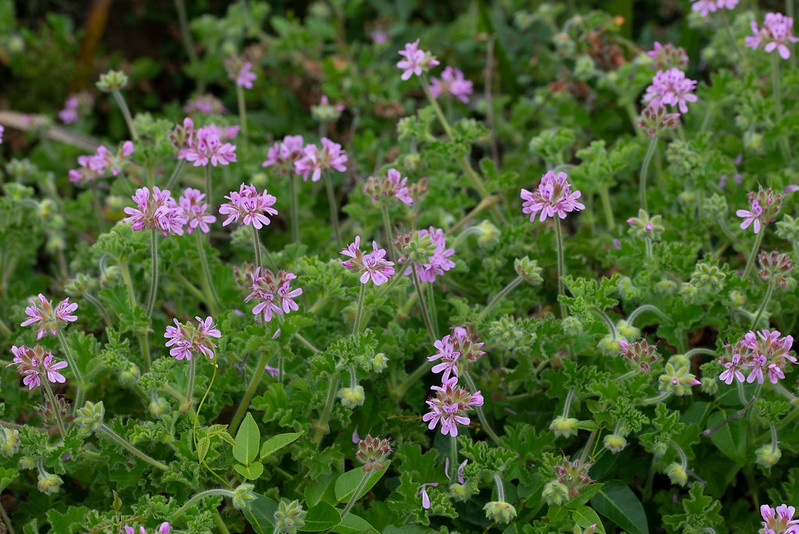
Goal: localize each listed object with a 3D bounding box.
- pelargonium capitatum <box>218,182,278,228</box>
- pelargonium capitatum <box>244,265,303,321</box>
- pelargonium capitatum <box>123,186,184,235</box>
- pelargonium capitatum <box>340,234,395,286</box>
[{"bbox_3d":[-0.469,-0.185,2.407,0.178,0.169,0.186,1,17,3],"label":"pelargonium capitatum"},{"bbox_3d":[-0.377,0.065,2.341,0.150,0.142,0.170,-3,39,-1],"label":"pelargonium capitatum"},{"bbox_3d":[-0.774,-0.199,2.420,0.161,0.173,0.087,-18,5,-3],"label":"pelargonium capitatum"},{"bbox_3d":[-0.089,-0.011,2.287,0.130,0.174,0.126,-31,47,-31],"label":"pelargonium capitatum"}]
